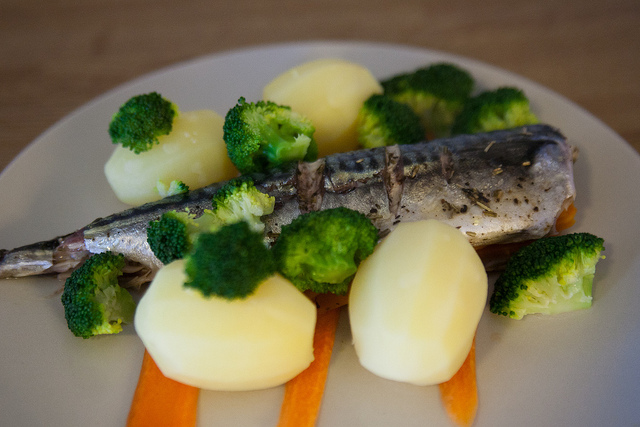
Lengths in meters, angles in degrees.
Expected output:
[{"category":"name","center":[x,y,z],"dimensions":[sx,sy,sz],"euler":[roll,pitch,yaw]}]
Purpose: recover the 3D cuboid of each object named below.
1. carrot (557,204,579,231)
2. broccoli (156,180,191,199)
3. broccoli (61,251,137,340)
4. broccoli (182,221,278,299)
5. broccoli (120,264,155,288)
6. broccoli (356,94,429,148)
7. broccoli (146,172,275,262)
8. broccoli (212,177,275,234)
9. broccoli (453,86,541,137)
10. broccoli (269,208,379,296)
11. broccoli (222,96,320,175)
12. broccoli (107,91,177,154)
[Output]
[{"category":"carrot","center":[1.183,0.016,2.906],"dimensions":[0.043,0.111,0.116],"euler":[26,74,8]},{"category":"broccoli","center":[-0.691,-0.119,2.833],"dimensions":[0.090,0.037,0.092],"euler":[-9,46,8]},{"category":"broccoli","center":[-1.010,0.365,2.734],"dimensions":[0.296,0.164,0.367],"euler":[-12,83,0]},{"category":"broccoli","center":[-0.377,0.207,2.481],"dimensions":[0.382,0.124,0.295],"euler":[-16,83,0]},{"category":"broccoli","center":[-0.859,0.285,2.847],"dimensions":[0.117,0.133,0.042],"euler":[-11,21,-4]},{"category":"broccoli","center":[0.370,-0.449,3.015],"dimensions":[0.305,0.255,0.188],"euler":[9,60,22]},{"category":"broccoli","center":[-0.488,0.011,2.668],"dimensions":[0.501,0.156,0.335],"euler":[-42,37,3]},{"category":"broccoli","center":[-0.345,-0.045,2.649],"dimensions":[0.223,0.081,0.250],"euler":[17,78,6]},{"category":"broccoli","center":[0.890,-0.497,3.092],"dimensions":[0.321,0.272,0.200],"euler":[-12,100,34]},{"category":"broccoli","center":[0.023,0.177,2.655],"dimensions":[0.451,0.299,0.348],"euler":[-10,83,0]},{"category":"broccoli","center":[-0.209,-0.447,2.955],"dimensions":[0.351,0.325,0.179],"euler":[1,71,15]},{"category":"broccoli","center":[-0.858,-0.458,2.876],"dimensions":[0.393,0.346,0.158],"euler":[-11,70,-20]}]
